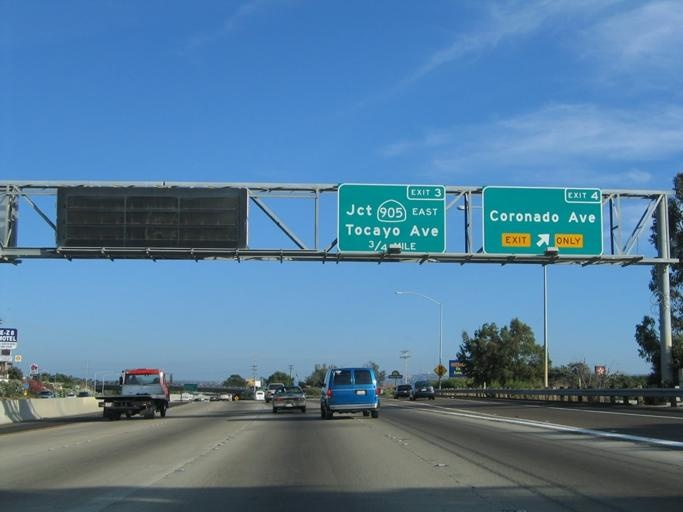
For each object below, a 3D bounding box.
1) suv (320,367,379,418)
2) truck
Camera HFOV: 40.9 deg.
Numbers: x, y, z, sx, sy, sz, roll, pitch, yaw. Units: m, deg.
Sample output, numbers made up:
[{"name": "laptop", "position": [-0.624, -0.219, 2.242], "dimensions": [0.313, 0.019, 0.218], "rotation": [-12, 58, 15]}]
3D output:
[{"name": "suv", "position": [0.285, 6.127, 42.043], "dimensions": [2.532, 2.164, 4.742], "rotation": [-1, -5, -9]}, {"name": "truck", "position": [-10.347, 6.866, 45.922], "dimensions": [2.499, 2.489, 4.581], "rotation": [1, -10, -1]}]
